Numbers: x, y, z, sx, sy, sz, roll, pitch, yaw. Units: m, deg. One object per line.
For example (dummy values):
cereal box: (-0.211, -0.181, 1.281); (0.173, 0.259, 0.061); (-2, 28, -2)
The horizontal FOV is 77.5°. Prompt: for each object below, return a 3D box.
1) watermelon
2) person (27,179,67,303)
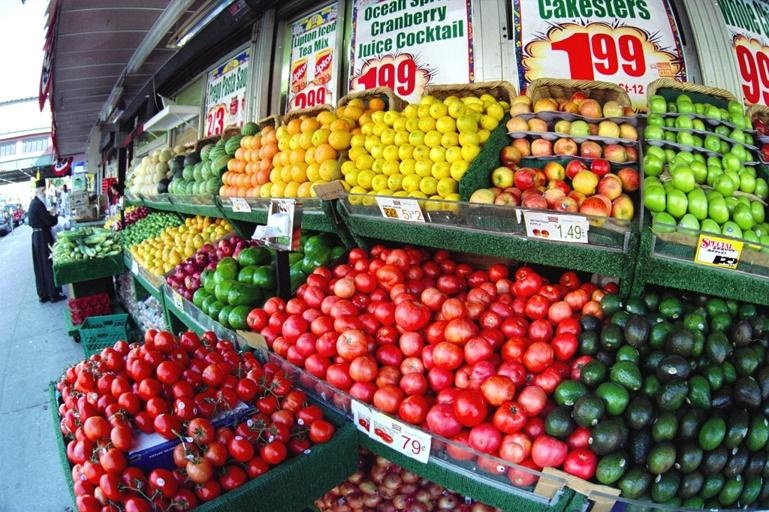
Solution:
watermelon: (-1.996, -0.982, 5.207); (0.766, 0.930, 1.351); (-17, 14, -33)
person: (-5.568, -0.252, 7.855); (0.560, 1.905, 0.462); (3, 9, 39)
